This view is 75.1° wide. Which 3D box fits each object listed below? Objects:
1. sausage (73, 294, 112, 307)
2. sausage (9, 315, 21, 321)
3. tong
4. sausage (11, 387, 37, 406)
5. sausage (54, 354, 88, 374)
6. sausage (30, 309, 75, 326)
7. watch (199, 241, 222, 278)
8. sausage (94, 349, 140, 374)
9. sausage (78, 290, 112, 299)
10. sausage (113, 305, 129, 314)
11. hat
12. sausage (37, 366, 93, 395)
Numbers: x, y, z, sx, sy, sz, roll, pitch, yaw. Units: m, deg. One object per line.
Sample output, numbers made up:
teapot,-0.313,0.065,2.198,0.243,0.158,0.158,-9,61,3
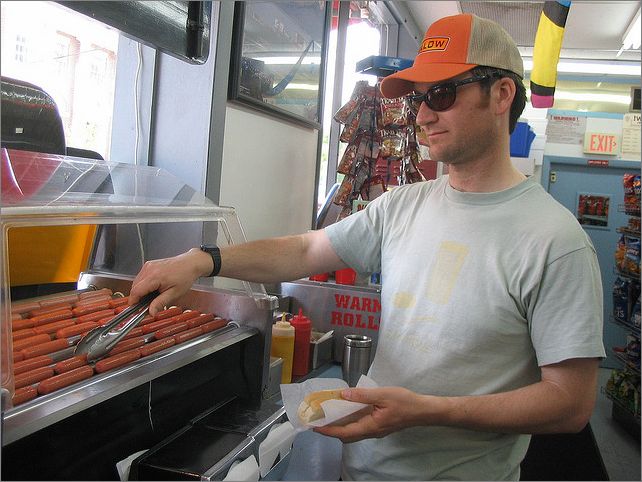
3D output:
sausage,-0.788,0.206,1.437,0.123,0.031,0.032,-11,34,-30
sausage,-0.894,0.222,1.221,0.018,0.014,0.027,6,4,-15
tong,-0.586,0.251,1.199,0.053,0.066,0.237,37,58,22
sausage,-0.665,0.348,0.933,0.038,0.030,0.061,0,15,-24
sausage,-0.629,0.305,1.050,0.022,0.021,0.077,-15,1,18
sausage,-0.817,0.232,1.251,0.020,0.020,0.077,-27,-12,34
watch,-0.337,0.055,1.307,0.067,0.099,0.093,-2,10,-35
sausage,-0.539,0.319,1.120,0.041,0.030,0.130,14,16,30
sausage,-0.816,0.190,1.498,0.019,0.019,0.081,-12,-2,34
sausage,-0.622,0.212,1.294,0.041,0.013,0.054,4,13,20
hat,0.409,-0.568,1.270,0.418,0.206,0.258,-6,17,-16
sausage,-0.611,0.329,1.001,0.029,0.030,0.116,12,18,31
